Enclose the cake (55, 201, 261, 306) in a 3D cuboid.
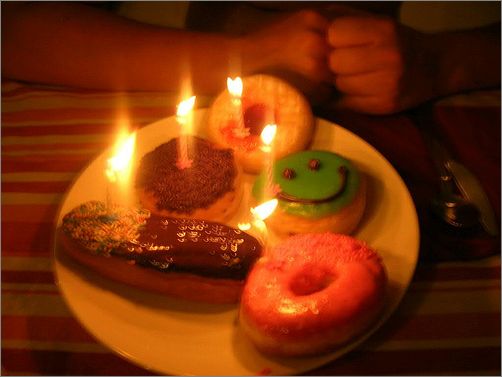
[{"bbox_3d":[-0.269,0.168,1.330,0.547,0.159,0.249,11,26,9],"label":"cake"}]
